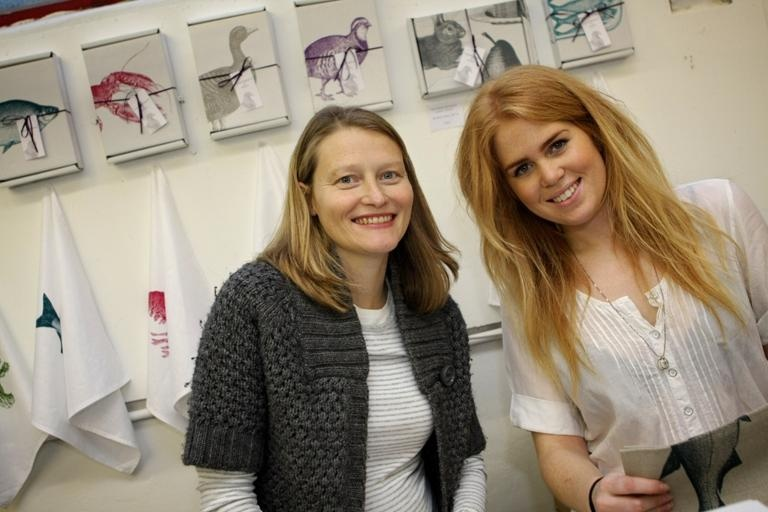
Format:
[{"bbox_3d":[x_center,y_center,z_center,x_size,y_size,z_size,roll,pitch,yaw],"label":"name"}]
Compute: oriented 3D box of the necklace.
[{"bbox_3d":[0.897,0.162,2.223,0.134,0.449,0.026,-26,-18,9],"label":"necklace"}]
